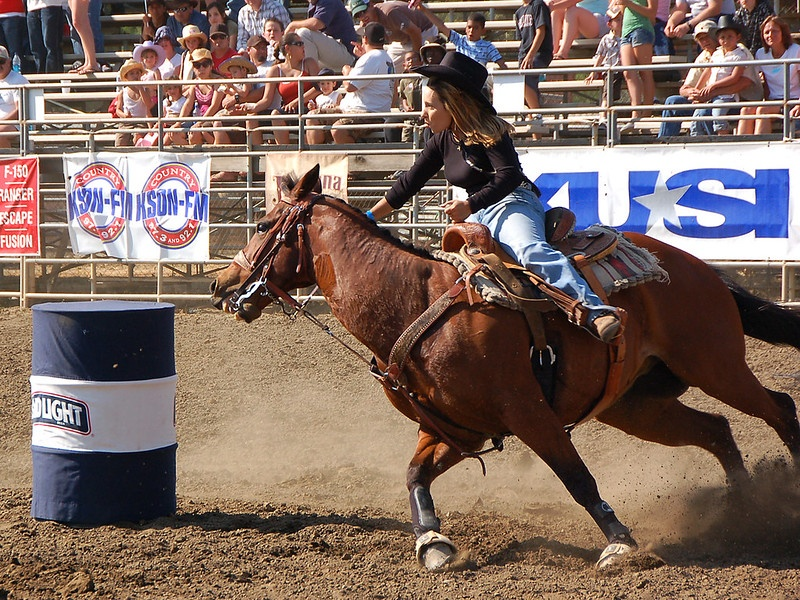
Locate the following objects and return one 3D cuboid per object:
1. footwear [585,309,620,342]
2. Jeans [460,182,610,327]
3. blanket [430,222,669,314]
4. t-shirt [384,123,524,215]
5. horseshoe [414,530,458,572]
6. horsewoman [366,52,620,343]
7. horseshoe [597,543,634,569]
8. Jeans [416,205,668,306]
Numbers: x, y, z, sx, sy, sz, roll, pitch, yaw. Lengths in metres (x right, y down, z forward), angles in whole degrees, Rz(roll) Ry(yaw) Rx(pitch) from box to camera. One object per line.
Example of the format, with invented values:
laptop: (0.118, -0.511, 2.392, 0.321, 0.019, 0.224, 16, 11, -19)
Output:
footwear: (1.921, 0.252, 15.669, 0.286, 0.355, 0.268, -8, 12, -32)
Jeans: (1.390, -0.305, 16.028, 1.420, 0.546, 0.924, 34, 43, 13)
blanket: (1.625, -0.378, 15.995, 1.417, 0.463, 1.076, -5, 12, -17)
t-shirt: (0.503, -1.256, 16.182, 1.500, 0.878, 0.983, -10, 22, 3)
horseshoe: (0.358, 2.331, 15.848, 0.330, 0.337, 0.310, -30, 24, 34)
horsewoman: (0.821, -1.004, 16.207, 2.783, 2.506, 1.215, 5, 4, 18)
horseshoe: (1.974, 2.326, 15.634, 0.321, 0.156, 0.193, -24, -3, -14)
Jeans: (1.557, -0.471, 16.029, 1.481, 0.495, 1.134, 6, 3, -8)
